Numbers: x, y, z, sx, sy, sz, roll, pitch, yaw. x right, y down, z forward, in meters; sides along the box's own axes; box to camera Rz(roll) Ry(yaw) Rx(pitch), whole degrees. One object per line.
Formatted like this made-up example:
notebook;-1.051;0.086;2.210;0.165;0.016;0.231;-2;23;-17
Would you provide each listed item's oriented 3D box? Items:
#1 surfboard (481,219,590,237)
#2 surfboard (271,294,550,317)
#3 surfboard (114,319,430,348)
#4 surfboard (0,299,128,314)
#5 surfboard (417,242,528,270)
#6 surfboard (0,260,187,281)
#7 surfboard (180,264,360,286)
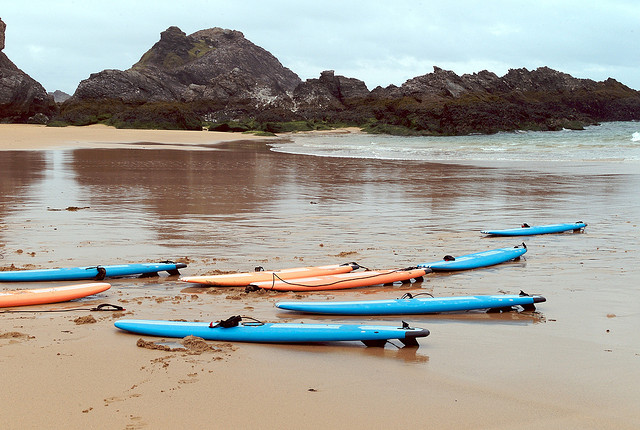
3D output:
surfboard;4.861;0.307;14.978;2.913;0.187;0.359;-3;0;-14
surfboard;1.475;1.386;10.151;4.168;0.220;0.321;-1;15;-3
surfboard;-0.768;1.628;9.098;4.696;0.288;0.384;1;11;2
surfboard;-3.858;1.361;10.115;1.879;0.126;0.666;-1;5;-5
surfboard;2.904;0.798;12.212;2.589;0.169;0.558;-5;6;-17
surfboard;-3.912;0.963;11.452;2.572;0.118;0.305;-2;7;-12
surfboard;-0.849;1.028;11.325;3.197;0.100;0.349;-2;-14;-10
